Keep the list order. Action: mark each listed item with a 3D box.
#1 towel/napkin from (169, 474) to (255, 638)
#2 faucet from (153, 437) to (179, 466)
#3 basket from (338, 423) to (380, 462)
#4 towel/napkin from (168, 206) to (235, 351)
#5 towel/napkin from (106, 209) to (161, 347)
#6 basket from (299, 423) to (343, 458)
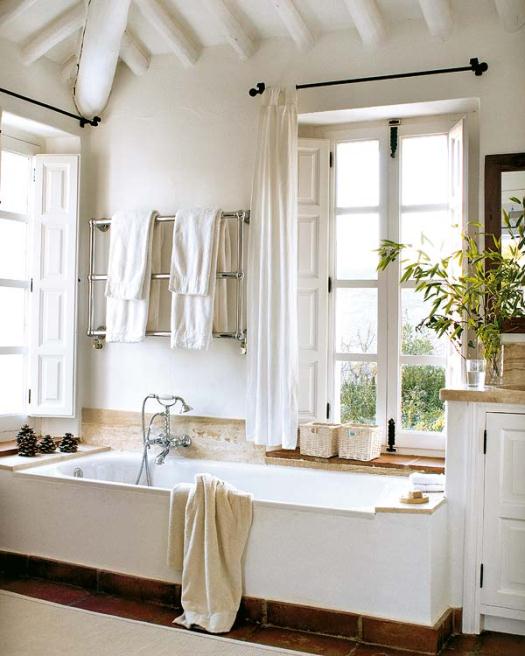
[{"bbox_3d":[-0.244,0.892,2.349,0.360,0.526,0.219,2,-1,35],"label":"towel/napkin"},{"bbox_3d":[-0.548,0.697,3.281,0.044,0.148,0.113,8,32,-48],"label":"faucet"},{"bbox_3d":[0.465,0.563,2.828,0.164,0.163,0.170,0,0,24],"label":"basket"},{"bbox_3d":[-0.377,-0.270,3.190,0.264,0.685,0.094,2,-1,23],"label":"towel/napkin"},{"bbox_3d":[-0.774,-0.295,3.379,0.281,0.713,0.100,2,-1,30],"label":"towel/napkin"},{"bbox_3d":[0.291,0.566,2.984,0.162,0.138,0.164,-2,-5,31],"label":"basket"}]
